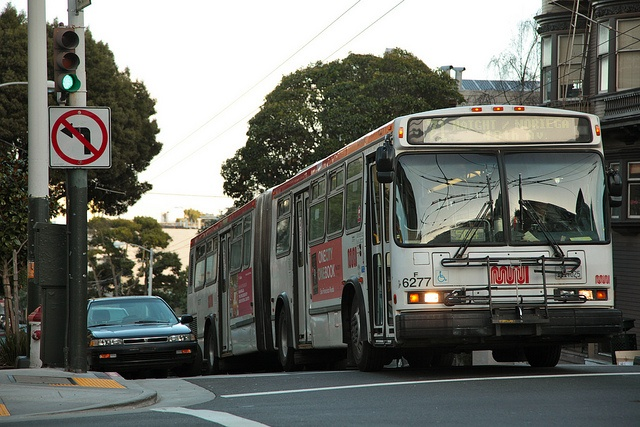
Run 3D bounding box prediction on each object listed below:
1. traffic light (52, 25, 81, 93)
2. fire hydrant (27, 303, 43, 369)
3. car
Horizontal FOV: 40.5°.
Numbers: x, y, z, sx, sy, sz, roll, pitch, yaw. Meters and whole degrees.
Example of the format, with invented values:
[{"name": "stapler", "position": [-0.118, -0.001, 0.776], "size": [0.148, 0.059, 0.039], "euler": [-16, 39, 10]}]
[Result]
[{"name": "traffic light", "position": [-4.355, -2.644, 14.938], "size": [0.353, 1.071, 0.383], "euler": [13, 15, 43]}, {"name": "fire hydrant", "position": [-5.812, 2.520, 17.755], "size": [0.240, 1.218, 0.573], "euler": [2, -9, -24]}, {"name": "car", "position": [-4.006, 2.747, 19.817], "size": [2.482, 1.881, 2.225], "euler": [0, -9, -15]}]
